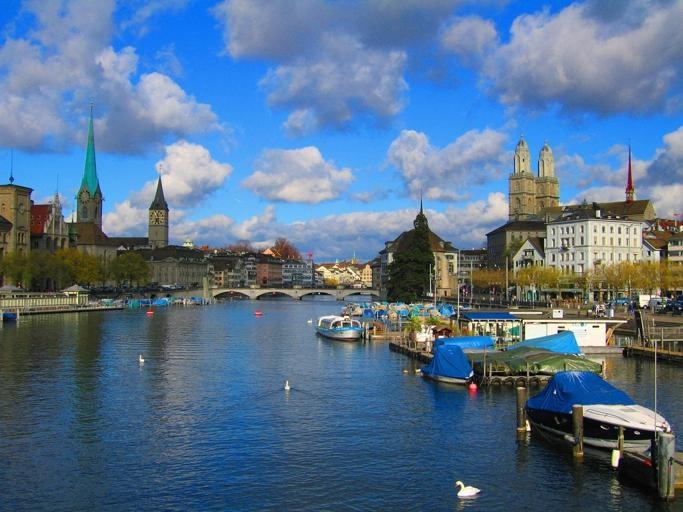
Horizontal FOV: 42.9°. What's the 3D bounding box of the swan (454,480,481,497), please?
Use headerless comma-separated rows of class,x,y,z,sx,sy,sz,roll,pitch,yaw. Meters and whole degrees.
swan,8.011,14.829,55.302,1.404,0.942,0.813,0,-10,-12

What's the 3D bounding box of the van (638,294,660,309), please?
van,49.991,7.993,143.073,2.690,2.511,4.392,0,1,-15

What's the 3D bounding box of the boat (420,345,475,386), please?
boat,9.901,9.980,80.851,2.525,1.827,4.617,-1,2,-9
